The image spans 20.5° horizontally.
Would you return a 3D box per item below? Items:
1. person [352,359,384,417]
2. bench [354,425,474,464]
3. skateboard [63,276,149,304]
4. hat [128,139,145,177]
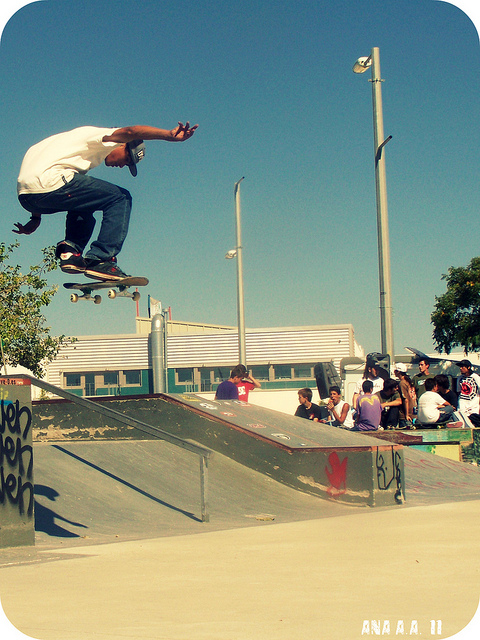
[{"bbox_3d":[1.573,0.931,16.372,0.400,0.794,0.432,-2,7,23],"label":"person"},{"bbox_3d":[2.026,1.386,14.585,1.293,0.413,0.326,0,-9,-20],"label":"bench"},{"bbox_3d":[-1.026,-0.244,10.179,0.239,0.123,0.644,9,-16,-42],"label":"skateboard"},{"bbox_3d":[-0.894,-1.370,11.399,0.126,0.330,0.429,-2,-8,-5],"label":"hat"}]
